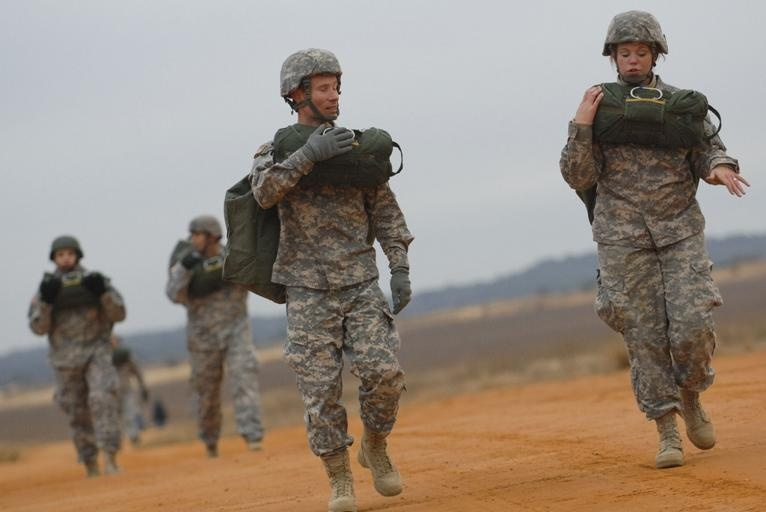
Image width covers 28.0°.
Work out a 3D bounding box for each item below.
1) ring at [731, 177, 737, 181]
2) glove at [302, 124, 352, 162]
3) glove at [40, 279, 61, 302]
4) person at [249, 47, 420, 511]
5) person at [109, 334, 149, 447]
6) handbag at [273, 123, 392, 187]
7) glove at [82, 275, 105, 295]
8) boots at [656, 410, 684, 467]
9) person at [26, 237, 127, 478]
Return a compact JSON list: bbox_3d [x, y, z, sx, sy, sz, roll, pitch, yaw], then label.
[{"bbox_3d":[3.214,-0.694,14.093,0.037,0.032,0.009,5,3,6],"label":"ring"},{"bbox_3d":[-0.526,-1.033,14.088,0.498,0.354,0.186,-9,-10,-3],"label":"glove"},{"bbox_3d":[-3.222,0.326,14.720,0.178,0.227,0.087,7,-4,0],"label":"glove"},{"bbox_3d":[-0.445,0.221,14.208,1.296,4.214,0.861,-9,-10,-5],"label":"person"},{"bbox_3d":[-2.483,1.299,15.000,0.302,1.064,0.318,-11,10,-22],"label":"person"},{"bbox_3d":[-0.475,-0.855,14.142,1.139,0.420,0.778,0,-8,-1],"label":"handbag"},{"bbox_3d":[-2.802,0.275,14.850,0.202,0.188,0.078,0,8,0],"label":"glove"},{"bbox_3d":[2.621,1.717,14.273,0.275,0.500,0.305,-11,-10,8],"label":"boots"},{"bbox_3d":[-2.922,0.968,14.776,0.807,2.282,0.320,-8,-10,-12],"label":"person"}]
